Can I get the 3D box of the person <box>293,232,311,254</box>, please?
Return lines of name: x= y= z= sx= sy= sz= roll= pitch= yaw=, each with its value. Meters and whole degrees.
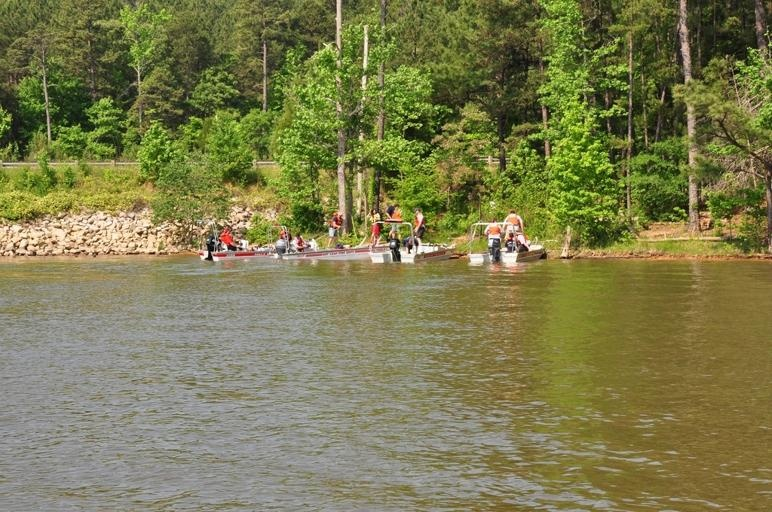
person: x=-5.514 y=-0.735 z=78.362 sx=1.039 sy=0.557 sz=1.307 roll=2 pitch=25 yaw=-12

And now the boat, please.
boat: x=-0.189 y=-0.879 z=79.348 sx=12.770 sy=2.048 sz=2.415 roll=-2 pitch=8 yaw=-2

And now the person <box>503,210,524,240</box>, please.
person: x=7.760 y=-2.066 z=73.536 sx=1.033 sy=1.144 sz=1.155 roll=-2 pitch=1 yaw=1
